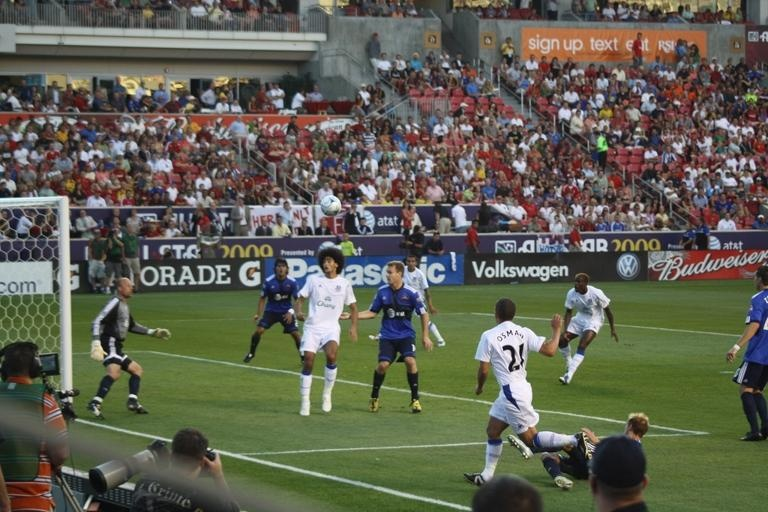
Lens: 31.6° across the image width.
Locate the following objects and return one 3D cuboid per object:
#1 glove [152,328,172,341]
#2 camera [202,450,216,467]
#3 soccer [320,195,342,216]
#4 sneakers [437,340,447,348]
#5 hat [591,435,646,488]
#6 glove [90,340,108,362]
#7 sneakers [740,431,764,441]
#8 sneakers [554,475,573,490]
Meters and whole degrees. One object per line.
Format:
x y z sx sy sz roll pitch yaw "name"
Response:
-5.766 2.032 35.234 0.423 0.262 0.475 1 4 -4 "glove"
-3.629 4.218 28.320 0.208 0.300 0.266 -6 18 -5 "camera"
-1.967 -2.006 53.984 0.735 0.838 0.878 16 -2 19 "soccer"
1.954 2.722 42.403 0.265 0.258 0.699 1 4 1 "sneakers"
4.794 4.091 26.812 1.096 1.026 0.230 1 4 2 "hat"
-7.292 2.424 34.642 0.382 0.562 0.356 0 4 -13 "glove"
9.424 4.530 33.882 0.562 0.277 0.222 0 -2 7 "sneakers"
4.341 5.329 31.661 0.287 0.151 0.373 0 8 -34 "sneakers"
